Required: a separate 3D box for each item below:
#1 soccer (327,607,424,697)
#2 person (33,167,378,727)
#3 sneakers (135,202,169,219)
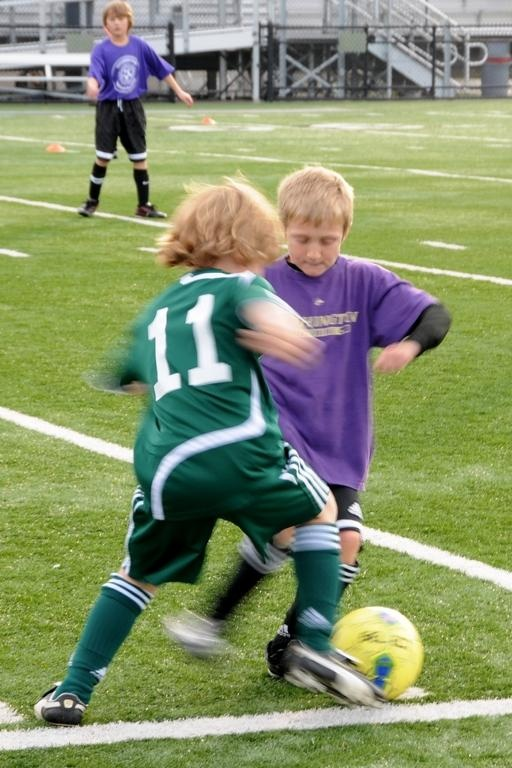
[{"bbox_3d":[0.259,0.549,2.320,0.215,0.165,0.179,-8,8,-11],"label":"soccer"},{"bbox_3d":[-0.063,0.147,2.060,0.658,1.086,0.395,6,9,17],"label":"person"},{"bbox_3d":[-0.859,-1.404,8.619,0.282,0.113,0.111,9,20,29],"label":"sneakers"}]
